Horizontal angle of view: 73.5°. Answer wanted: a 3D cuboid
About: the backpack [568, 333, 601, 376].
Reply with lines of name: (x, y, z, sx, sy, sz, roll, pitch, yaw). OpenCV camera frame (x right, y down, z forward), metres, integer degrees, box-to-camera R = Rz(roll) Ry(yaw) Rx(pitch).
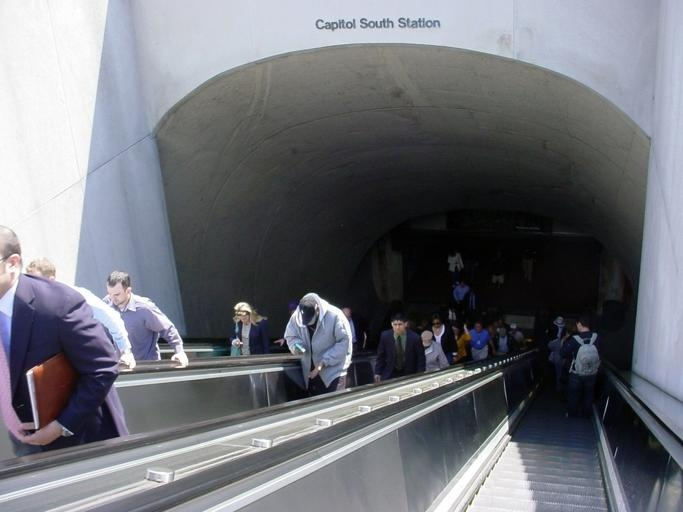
backpack: (4.066, 1.628, 7.635, 0.425, 0.762, 0.365, 3, 4, 23)

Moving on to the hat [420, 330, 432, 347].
hat: (1.276, 1.203, 6.827, 0.189, 0.230, 0.300, 3, -15, 11)

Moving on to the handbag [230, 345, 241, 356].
handbag: (-1.538, 1.359, 6.614, 0.189, 0.174, 0.277, 4, -16, -15)

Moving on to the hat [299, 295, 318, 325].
hat: (-0.359, 0.586, 5.066, 0.228, 0.356, 0.245, 2, 3, 1)

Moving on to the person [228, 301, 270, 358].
person: (-1.319, 1.031, 6.376, 0.805, 0.817, 0.409, 3, 4, 24)

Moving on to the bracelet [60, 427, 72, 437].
bracelet: (-1.345, 0.844, 2.225, 0.054, 0.023, 0.051, 21, -25, 9)

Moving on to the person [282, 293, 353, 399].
person: (-0.256, 1.020, 5.252, 0.663, 1.239, 0.488, 0, 3, -19)
